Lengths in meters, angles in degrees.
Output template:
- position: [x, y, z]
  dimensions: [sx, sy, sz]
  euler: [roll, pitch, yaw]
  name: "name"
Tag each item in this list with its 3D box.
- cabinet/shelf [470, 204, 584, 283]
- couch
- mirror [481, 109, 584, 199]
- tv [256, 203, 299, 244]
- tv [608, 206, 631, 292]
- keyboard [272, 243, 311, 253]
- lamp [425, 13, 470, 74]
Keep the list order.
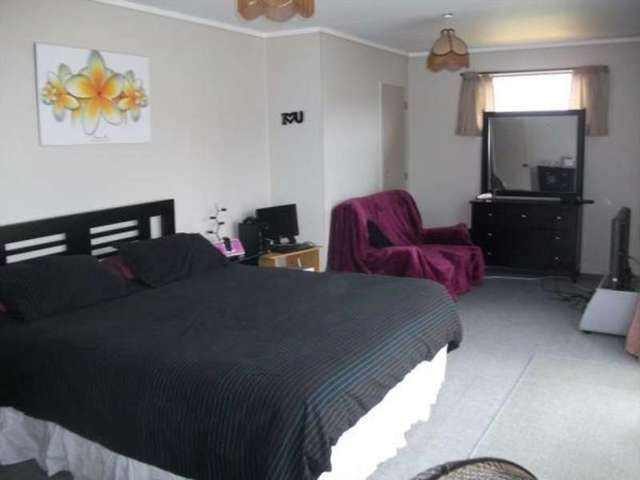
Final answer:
- position: [2.786, 0.019, 6.195]
  dimensions: [0.951, 0.754, 0.370]
  euler: [3, 6, 28]
  name: "cabinet/shelf"
- position: [1.149, 0.023, 5.910]
  dimensions: [1.469, 1.092, 1.813]
  euler: [9, 15, 40]
  name: "couch"
- position: [3.014, -1.223, 6.447]
  dimensions: [1.200, 1.196, 0.121]
  euler: [4, 9, 26]
  name: "mirror"
- position: [-0.510, -0.206, 5.482]
  dimensions: [0.547, 0.402, 0.150]
  euler: [-11, 9, -33]
  name: "tv"
- position: [3.082, 0.100, 4.752]
  dimensions: [0.254, 0.752, 0.816]
  euler: [2, 12, 33]
  name: "tv"
- position: [-0.307, 0.073, 5.352]
  dimensions: [0.172, 0.035, 0.302]
  euler: [7, 11, 40]
  name: "keyboard"
- position: [1.406, -2.227, 5.110]
  dimensions: [0.528, 0.681, 0.543]
  euler: [-1, 10, 2]
  name: "lamp"
